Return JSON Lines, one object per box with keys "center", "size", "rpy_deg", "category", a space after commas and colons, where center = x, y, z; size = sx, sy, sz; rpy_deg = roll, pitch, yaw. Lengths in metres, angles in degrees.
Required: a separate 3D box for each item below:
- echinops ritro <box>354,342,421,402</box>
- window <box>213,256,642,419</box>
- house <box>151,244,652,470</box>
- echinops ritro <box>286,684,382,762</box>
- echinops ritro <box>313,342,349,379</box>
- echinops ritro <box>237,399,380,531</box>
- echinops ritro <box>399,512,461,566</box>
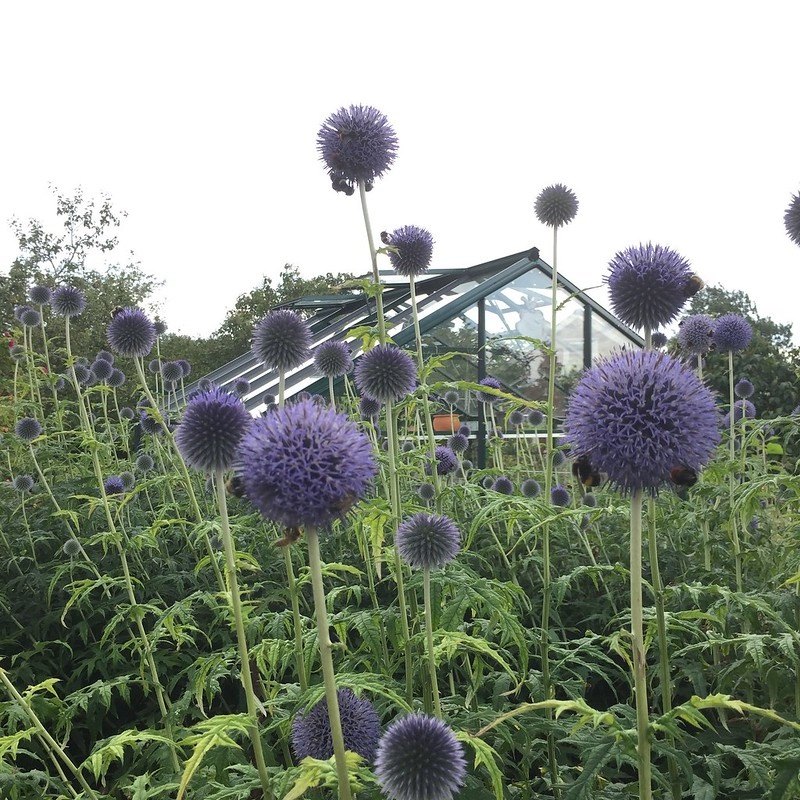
{"center": [-0.040, -0.132, 4.741], "size": [0.328, 0.298, 0.309], "rpy_deg": [-4, 14, -14], "category": "echinops ritro"}
{"center": [1.621, -1.420, 17.480], "size": [5.109, 2.122, 4.890], "rpy_deg": [2, -9, -37], "category": "window"}
{"center": [0.834, -1.246, 17.278], "size": [5.862, 2.844, 5.941], "rpy_deg": [9, -15, -44], "category": "house"}
{"center": [-0.271, 1.372, 3.900], "size": [0.347, 0.319, 0.334], "rpy_deg": [-4, 1, 1], "category": "echinops ritro"}
{"center": [-0.462, -0.251, 5.871], "size": [0.242, 0.232, 0.246], "rpy_deg": [0, 0, 22], "category": "echinops ritro"}
{"center": [-0.271, 0.195, 3.330], "size": [0.478, 0.442, 0.492], "rpy_deg": [6, 2, 0], "category": "echinops ritro"}
{"center": [0.132, 0.593, 3.953], "size": [0.247, 0.226, 0.234], "rpy_deg": [-2, 16, -7], "category": "echinops ritro"}
